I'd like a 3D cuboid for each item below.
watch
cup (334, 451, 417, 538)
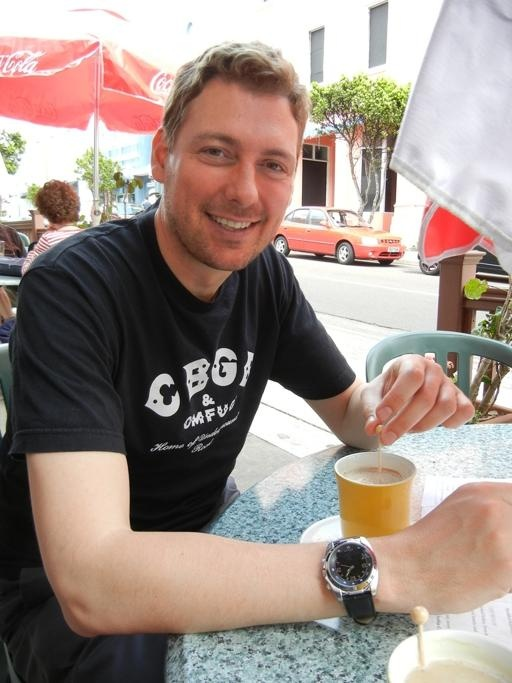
[{"bbox_3d":[0.127,0.315,0.730,0.063,0.098,0.101,-12,42,1],"label":"watch"},{"bbox_3d":[0.204,0.234,0.920,0.126,0.143,0.155,2,10,23],"label":"cup"}]
